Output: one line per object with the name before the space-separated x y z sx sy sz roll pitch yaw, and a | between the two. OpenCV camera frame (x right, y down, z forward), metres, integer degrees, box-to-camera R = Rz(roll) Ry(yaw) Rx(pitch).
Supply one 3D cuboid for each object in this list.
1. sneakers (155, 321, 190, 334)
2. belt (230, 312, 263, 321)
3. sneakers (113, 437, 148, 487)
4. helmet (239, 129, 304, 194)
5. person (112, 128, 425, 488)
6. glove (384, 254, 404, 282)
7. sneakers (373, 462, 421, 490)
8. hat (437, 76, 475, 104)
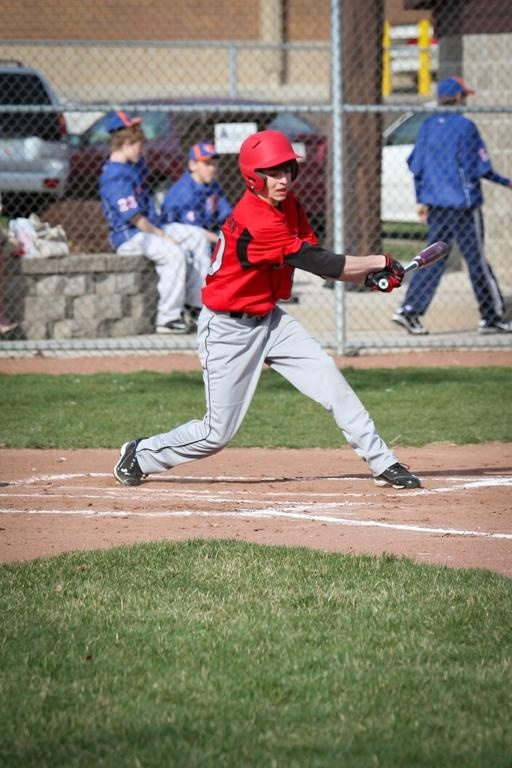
sneakers | -0.650 -0.444 8.699 0.305 0.102 0.098 0 5 -2
belt | -0.041 -0.285 4.710 0.057 0.024 0.075 4 -5 27
sneakers | -0.587 0.391 5.172 0.131 0.273 0.097 -19 -46 13
helmet | 0.054 -0.909 4.503 0.243 0.255 0.283 -1 10 -2
person | 0.036 -0.267 4.726 1.316 1.581 0.666 0 11 6
glove | 0.565 -0.460 4.537 0.080 0.145 0.184 2 10 15
sneakers | 0.659 0.422 5.002 0.229 0.099 0.105 -3 0 44
hat | 1.570 -2.233 8.483 0.369 0.118 0.214 -15 38 -27
